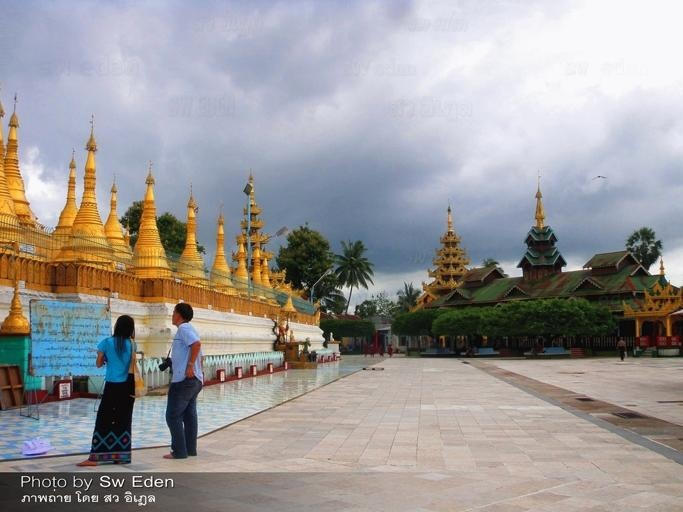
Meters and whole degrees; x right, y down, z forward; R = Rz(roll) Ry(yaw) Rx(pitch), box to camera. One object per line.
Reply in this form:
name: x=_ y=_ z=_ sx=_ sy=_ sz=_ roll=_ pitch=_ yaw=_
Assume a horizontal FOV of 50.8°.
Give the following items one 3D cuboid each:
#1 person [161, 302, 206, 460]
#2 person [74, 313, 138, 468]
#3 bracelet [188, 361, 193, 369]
person: x=-2.231 y=1.695 z=10.010 sx=0.576 sy=2.196 sz=0.692 roll=-2 pitch=-13 yaw=-14
person: x=-3.069 y=1.772 z=9.627 sx=0.675 sy=2.012 sz=0.518 roll=-12 pitch=-14 yaw=26
bracelet: x=-2.070 y=1.509 z=9.802 sx=0.065 sy=0.056 sz=0.062 roll=1 pitch=1 yaw=-15
